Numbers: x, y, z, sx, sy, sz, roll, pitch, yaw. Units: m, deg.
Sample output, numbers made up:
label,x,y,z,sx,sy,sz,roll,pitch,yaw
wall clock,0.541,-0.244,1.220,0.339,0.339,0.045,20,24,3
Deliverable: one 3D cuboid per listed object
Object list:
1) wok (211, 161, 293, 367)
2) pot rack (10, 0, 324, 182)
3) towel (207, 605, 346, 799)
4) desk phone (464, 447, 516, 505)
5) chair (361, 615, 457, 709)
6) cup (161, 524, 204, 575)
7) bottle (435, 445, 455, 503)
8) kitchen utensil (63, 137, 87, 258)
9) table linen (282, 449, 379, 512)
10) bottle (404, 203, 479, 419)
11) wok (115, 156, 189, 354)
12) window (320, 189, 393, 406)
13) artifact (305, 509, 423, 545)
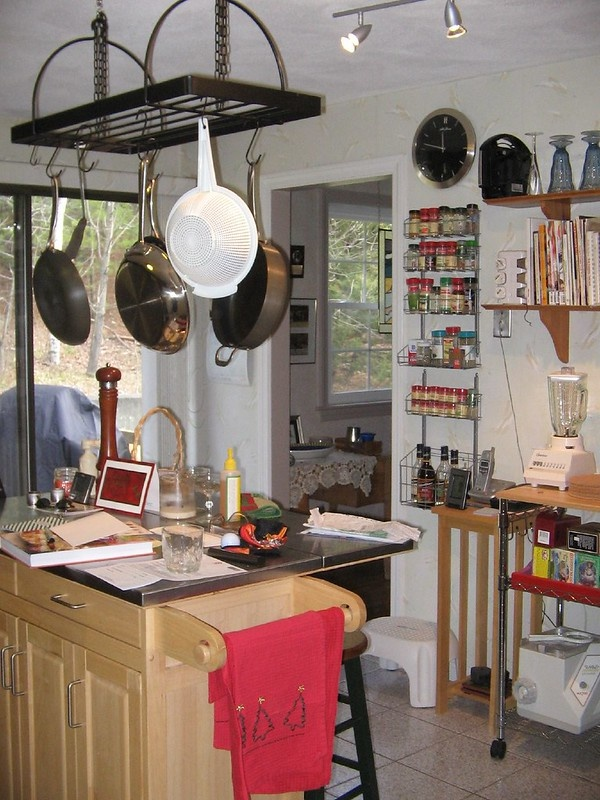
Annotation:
label,x,y,z,sx,sy,sz,roll,pitch,yaw
wok,-0.159,-0.437,2.348,0.095,0.618,0.377,10,-12,-31
pot rack,-0.459,-1.069,2.543,1.230,0.385,0.556,0,0,45
towel,-0.043,0.636,1.506,0.106,0.380,0.323,-1,-1,35
desk phone,0.786,0.297,3.073,0.171,0.215,0.158,-13,14,-35
chair,0.458,1.102,3.227,0.429,0.255,0.330,3,6,43
cup,-0.251,0.327,1.676,0.102,0.103,0.098,0,2,0
bottle,0.615,0.321,3.199,0.069,0.249,0.155,0,-1,9
kitchen utensil,-0.713,-0.638,2.397,0.075,0.350,0.052,14,14,38
table linen,0.169,0.541,4.884,0.706,0.300,0.416,0,-1,-16
bottle,0.608,-0.384,3.318,0.426,0.933,0.254,0,-1,31
wok,-0.411,-0.451,2.317,0.091,0.566,0.355,-16,20,-37
window,0.490,-0.812,6.066,0.184,1.731,0.738,-1,-1,40
artifact,0.168,0.353,2.060,0.237,0.045,0.141,-1,5,20
